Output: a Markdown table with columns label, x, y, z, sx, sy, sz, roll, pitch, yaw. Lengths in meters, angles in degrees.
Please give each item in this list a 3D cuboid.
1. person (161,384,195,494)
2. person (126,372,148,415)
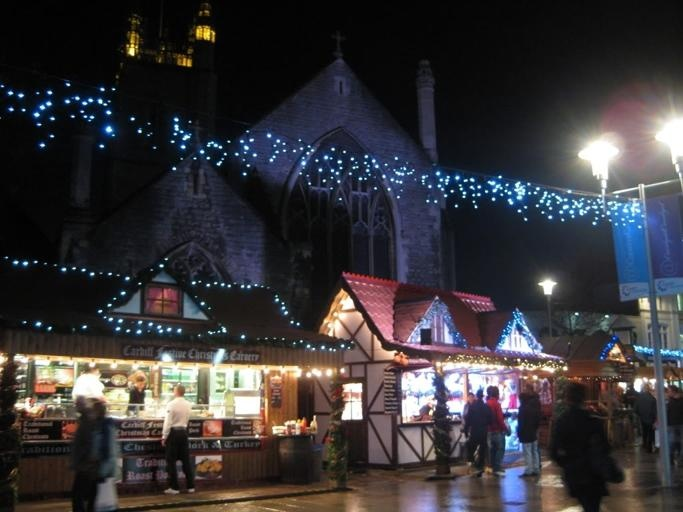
| label | x | y | z | sx | sy | sz | roll | pitch | yaw |
| --- | --- | --- | --- | --- | --- | --- | --- | --- | --- |
| person | -3.871 | 4.335 | 19.336 | 0.715 | 2.522 | 0.713 | 0 | -9 | -13 |
| person | -5.045 | 3.371 | 20.113 | 0.409 | 1.114 | 0.942 | 0 | -10 | -12 |
